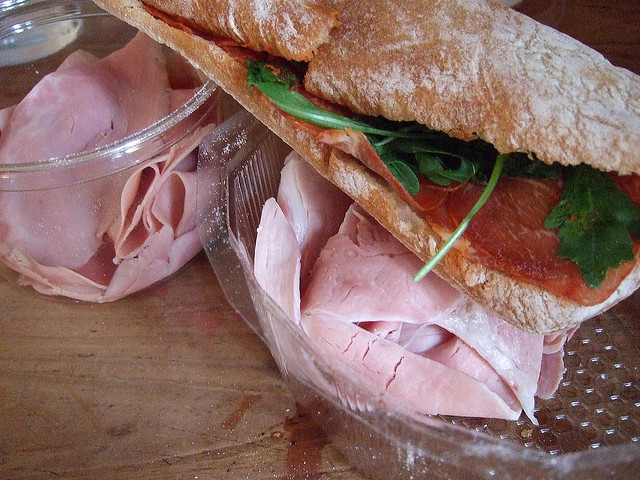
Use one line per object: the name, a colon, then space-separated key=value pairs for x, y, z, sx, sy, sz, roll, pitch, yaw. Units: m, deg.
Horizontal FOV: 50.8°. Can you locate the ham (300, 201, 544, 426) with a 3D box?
ham: x=0.131 y=0.092 z=0.793 sx=0.205 sy=0.208 sz=0.264 roll=-25 pitch=40 yaw=-36
